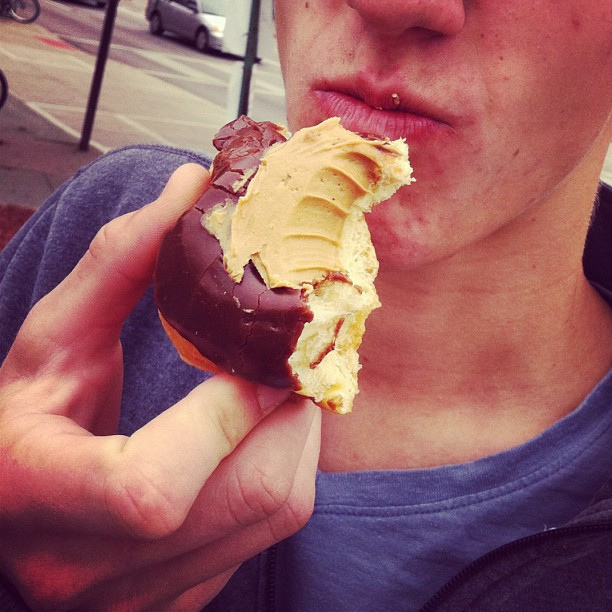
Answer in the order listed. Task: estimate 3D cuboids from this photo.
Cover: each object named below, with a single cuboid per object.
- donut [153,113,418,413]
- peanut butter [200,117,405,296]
[{"bbox_3d":[-0.063,-0.073,1.188,0.471,0.481,0.208,12,-5,-18],"label":"donut"},{"bbox_3d":[-0.014,-0.151,1.160,0.315,0.108,0.321,22,78,-9],"label":"peanut butter"}]
